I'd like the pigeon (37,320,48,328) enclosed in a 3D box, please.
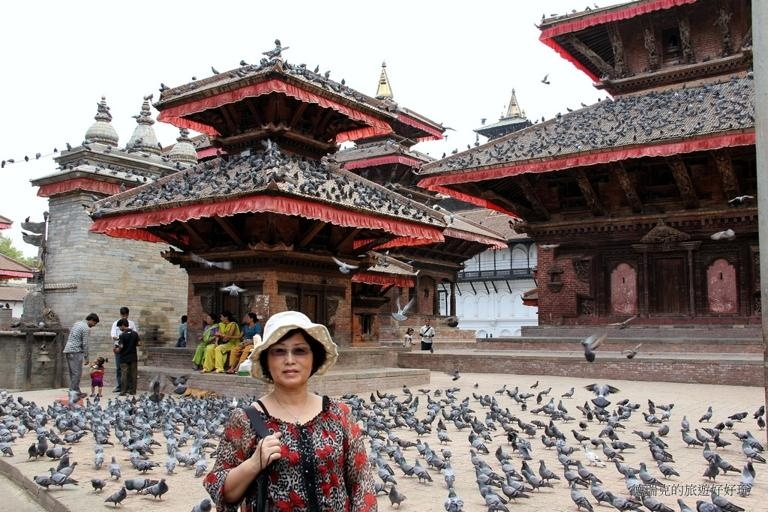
[{"bbox_3d":[-11.034,2.176,21.251,0.254,0.258,0.302,11,-46,-33],"label":"pigeon"}]

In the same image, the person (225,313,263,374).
[{"bbox_3d":[-3.727,2.270,17.498,0.762,1.473,0.984,-1,0,34],"label":"person"}]

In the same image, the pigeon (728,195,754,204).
[{"bbox_3d":[11.999,-1.912,22.193,0.650,0.158,0.580,-8,-1,8],"label":"pigeon"}]

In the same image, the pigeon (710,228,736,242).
[{"bbox_3d":[11.511,-0.737,22.454,0.834,0.283,0.450,-6,5,-24],"label":"pigeon"}]
